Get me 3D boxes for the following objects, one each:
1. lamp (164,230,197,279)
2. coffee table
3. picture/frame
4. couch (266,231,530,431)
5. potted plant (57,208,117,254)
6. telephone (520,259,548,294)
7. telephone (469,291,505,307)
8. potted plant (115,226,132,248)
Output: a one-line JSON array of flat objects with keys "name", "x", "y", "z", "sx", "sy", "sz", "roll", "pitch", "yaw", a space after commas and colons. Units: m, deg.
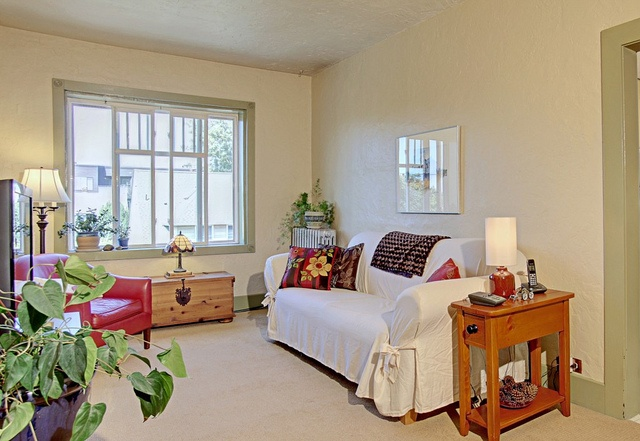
[{"name": "lamp", "x": -1.638, "y": 0.373, "z": 5.144, "sx": 0.447, "sy": 0.672, "sz": 0.456, "roll": -1, "pitch": 4, "yaw": -21}, {"name": "coffee table", "x": 1.346, "y": 0.995, "z": 3.090, "sx": 0.951, "sy": 0.915, "sz": 0.392, "roll": -3, "pitch": 3, "yaw": -34}, {"name": "picture/frame", "x": 1.095, "y": -0.513, "z": 4.361, "sx": 0.037, "sy": 0.934, "sz": 0.889, "roll": -2, "pitch": 2, "yaw": -34}, {"name": "couch", "x": 0.723, "y": 1.043, "z": 3.711, "sx": 1.234, "sy": 1.082, "sz": 2.122, "roll": 3, "pitch": -4, "yaw": -31}, {"name": "potted plant", "x": -2.706, "y": 0.098, "z": 5.130, "sx": 0.521, "sy": 0.383, "sz": 0.391, "roll": 1, "pitch": -2, "yaw": -17}, {"name": "telephone", "x": 1.558, "y": 0.403, "z": 3.215, "sx": 0.158, "sy": 0.230, "sz": 0.192, "roll": -4, "pitch": 4, "yaw": 14}, {"name": "telephone", "x": 1.134, "y": 0.532, "z": 3.009, "sx": 0.240, "sy": 0.062, "sz": 0.151, "roll": 3, "pitch": 8, "yaw": 26}, {"name": "potted plant", "x": -2.389, "y": 0.191, "z": 5.350, "sx": 0.159, "sy": 0.266, "sz": 0.233, "roll": -3, "pitch": 9, "yaw": -18}]
